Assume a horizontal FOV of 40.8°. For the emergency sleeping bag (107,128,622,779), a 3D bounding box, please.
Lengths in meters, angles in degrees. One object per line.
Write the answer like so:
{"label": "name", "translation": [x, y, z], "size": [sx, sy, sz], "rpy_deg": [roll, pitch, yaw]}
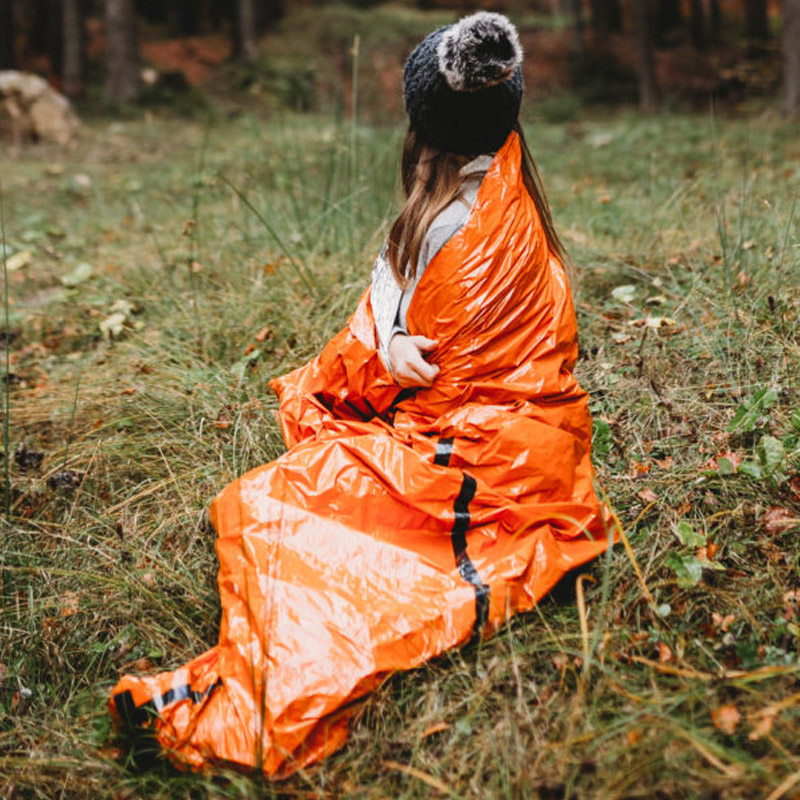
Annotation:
{"label": "emergency sleeping bag", "translation": [-0.105, 0.381, 4.418], "size": [2.115, 2.428, 1.526], "rpy_deg": [1, -4, -12]}

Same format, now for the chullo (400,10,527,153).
{"label": "chullo", "translation": [0.174, -0.941, 3.271], "size": [0.370, 0.425, 0.316], "rpy_deg": [-10, 46, -3]}

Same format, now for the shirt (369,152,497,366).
{"label": "shirt", "translation": [0.008, -0.461, 3.388], "size": [0.233, 0.596, 0.470], "rpy_deg": [20, 36, 11]}
